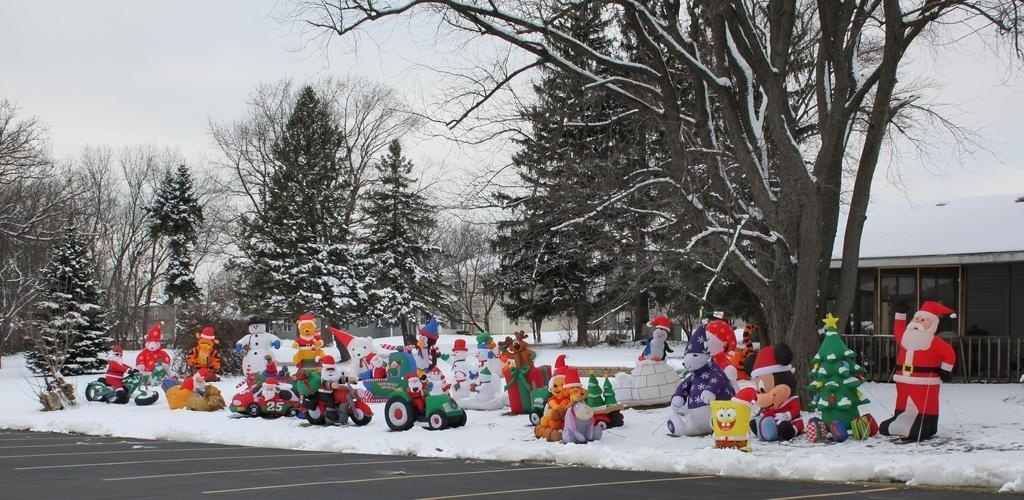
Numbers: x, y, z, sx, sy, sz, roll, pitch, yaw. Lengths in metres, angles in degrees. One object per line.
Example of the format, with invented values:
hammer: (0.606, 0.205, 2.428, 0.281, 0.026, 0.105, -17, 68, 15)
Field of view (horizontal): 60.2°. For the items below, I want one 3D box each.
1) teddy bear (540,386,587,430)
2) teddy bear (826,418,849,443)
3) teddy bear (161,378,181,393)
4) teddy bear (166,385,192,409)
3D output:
teddy bear: (1.992, 5.944, 33.207, 1.374, 1.704, 0.996, 7, -8, 7)
teddy bear: (11.821, 6.576, 32.332, 0.671, 0.728, 0.464, 1, 14, 16)
teddy bear: (-15.304, 5.959, 39.684, 0.727, 0.533, 0.728, -6, -4, -8)
teddy bear: (-14.509, 6.433, 38.626, 1.126, 0.842, 0.601, -2, 13, 3)
